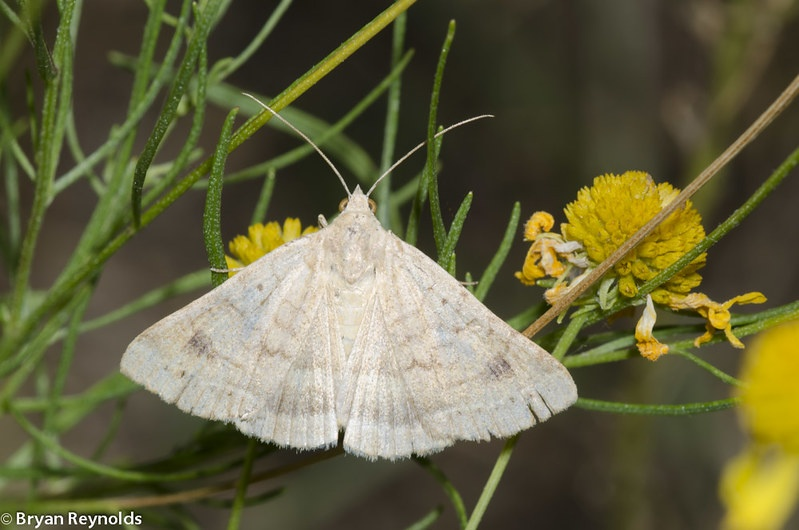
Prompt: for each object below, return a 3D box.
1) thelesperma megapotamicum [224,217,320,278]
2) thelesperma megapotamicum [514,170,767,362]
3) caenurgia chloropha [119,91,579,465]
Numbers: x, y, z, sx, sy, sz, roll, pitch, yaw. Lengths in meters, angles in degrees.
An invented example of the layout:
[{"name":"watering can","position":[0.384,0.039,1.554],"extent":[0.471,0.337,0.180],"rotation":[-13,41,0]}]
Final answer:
[{"name":"thelesperma megapotamicum","position":[-0.512,-0.109,2.977],"extent":[0.277,0.152,0.291],"rotation":[-8,0,44]},{"name":"thelesperma megapotamicum","position":[0.789,-0.001,2.620],"extent":[0.759,0.633,0.310],"rotation":[6,5,25]},{"name":"caenurgia chloropha","position":[-0.158,0.039,3.100],"extent":[1.927,1.748,0.544],"rotation":[5,3,3]}]
